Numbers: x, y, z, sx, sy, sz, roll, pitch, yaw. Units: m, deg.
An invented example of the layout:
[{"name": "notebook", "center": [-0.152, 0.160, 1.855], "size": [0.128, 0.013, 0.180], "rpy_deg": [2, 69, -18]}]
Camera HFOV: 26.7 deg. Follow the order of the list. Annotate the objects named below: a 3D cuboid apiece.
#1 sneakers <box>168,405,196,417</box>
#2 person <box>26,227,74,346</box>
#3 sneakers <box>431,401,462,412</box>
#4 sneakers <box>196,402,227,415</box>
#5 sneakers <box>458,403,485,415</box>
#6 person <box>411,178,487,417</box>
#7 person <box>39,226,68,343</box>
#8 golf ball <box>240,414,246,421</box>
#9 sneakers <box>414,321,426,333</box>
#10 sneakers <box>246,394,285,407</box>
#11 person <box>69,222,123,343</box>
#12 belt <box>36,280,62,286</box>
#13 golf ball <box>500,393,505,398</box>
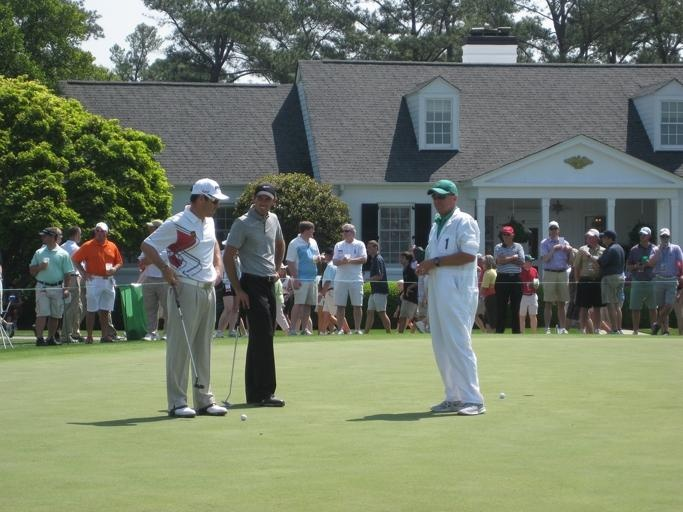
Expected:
[{"name": "sneakers", "center": [-2.322, 2.289, 21.090], "size": [0.389, 0.183, 0.159], "rpy_deg": [-3, -1, 15]}, {"name": "person", "center": [-5.741, 0.570, 28.287], "size": [0.619, 2.358, 0.768], "rpy_deg": [3, 3, 41]}, {"name": "sneakers", "center": [1.582, 2.234, 21.236], "size": [0.445, 0.202, 0.167], "rpy_deg": [1, -2, -7]}, {"name": "sneakers", "center": [-1.907, 2.275, 21.262], "size": [0.428, 0.183, 0.177], "rpy_deg": [-3, 0, 10]}, {"name": "sneakers", "center": [1.945, 2.274, 21.086], "size": [0.417, 0.183, 0.151], "rpy_deg": [2, -5, -19]}, {"name": "person", "center": [1.695, 0.628, 21.442], "size": [0.897, 3.505, 0.656], "rpy_deg": [-1, -3, 3]}, {"name": "person", "center": [-5.702, 0.608, 28.220], "size": [0.816, 2.306, 0.509], "rpy_deg": [-1, -3, -11]}, {"name": "golf ball", "center": [-1.415, 2.371, 20.899], "size": [0.066, 0.069, 0.077], "rpy_deg": [-11, -4, -13]}, {"name": "sneakers", "center": [1.706, 1.516, 30.289], "size": [0.190, 0.217, 0.246], "rpy_deg": [-3, 4, -1]}, {"name": "sneakers", "center": [-1.133, 2.219, 21.535], "size": [0.560, 0.240, 0.205], "rpy_deg": [-5, -5, 14]}, {"name": "person", "center": [-4.885, 0.515, 28.738], "size": [0.670, 2.443, 0.811], "rpy_deg": [3, 2, 43]}, {"name": "belt", "center": [-5.684, 0.557, 28.150], "size": [0.439, 0.110, 0.054], "rpy_deg": [-1, -3, -13]}, {"name": "golf ball", "center": [2.482, 2.134, 21.753], "size": [0.065, 0.066, 0.062], "rpy_deg": [1, -6, 0]}]
